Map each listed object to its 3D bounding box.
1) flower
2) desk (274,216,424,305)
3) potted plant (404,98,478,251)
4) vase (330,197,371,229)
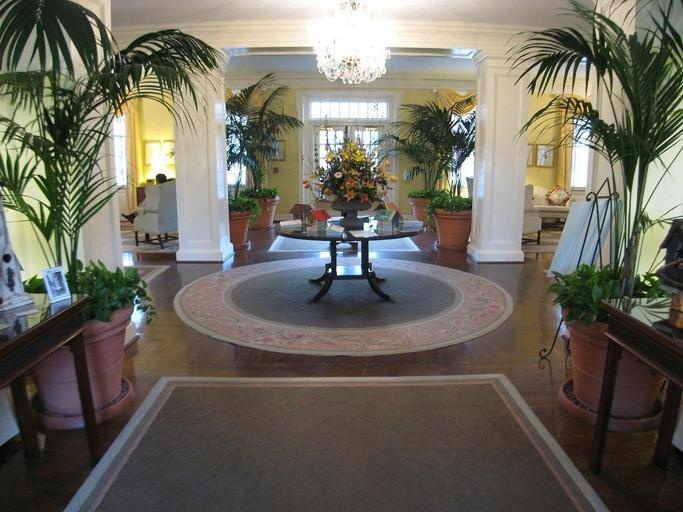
[{"bbox_3d":[0.046,-0.849,5.355,0.833,0.703,0.736,5,9,22],"label":"flower"},{"bbox_3d":[0.082,-0.031,5.125,1.082,0.543,1.084,-2,6,-25],"label":"desk"},{"bbox_3d":[1.749,-1.652,8.931,1.186,2.457,3.442,2,14,7],"label":"potted plant"},{"bbox_3d":[0.097,-0.483,5.285,0.355,0.272,0.361,-2,9,-10],"label":"vase"}]
